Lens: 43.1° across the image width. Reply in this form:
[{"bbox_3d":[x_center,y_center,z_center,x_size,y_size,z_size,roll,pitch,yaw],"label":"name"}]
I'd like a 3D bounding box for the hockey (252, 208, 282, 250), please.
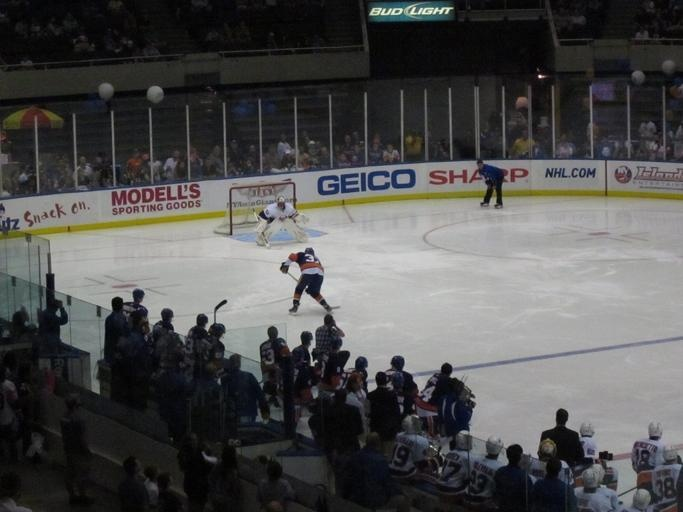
[{"bbox_3d":[-1.982,-0.774,22.539,0.528,1.089,0.540,-3,14,-7],"label":"hockey"}]
